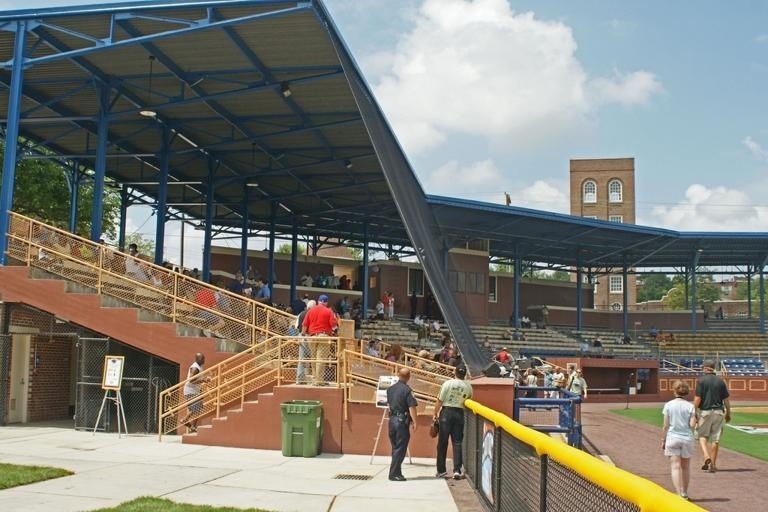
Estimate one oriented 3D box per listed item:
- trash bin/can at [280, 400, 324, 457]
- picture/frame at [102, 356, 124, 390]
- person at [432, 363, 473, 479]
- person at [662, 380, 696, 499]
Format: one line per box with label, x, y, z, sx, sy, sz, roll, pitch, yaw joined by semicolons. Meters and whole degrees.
trash bin/can;-3.000;6.441;46.500;1.892;2.020;1.368;-1;-6;17
picture/frame;-10.513;4.554;48.229;0.809;1.330;1.108;0;5;-8
person;2.389;5.780;43.500;1.248;3.966;0.892;1;5;2
person;10.102;6.287;42.788;1.433;3.873;1.065;-1;2;-2
